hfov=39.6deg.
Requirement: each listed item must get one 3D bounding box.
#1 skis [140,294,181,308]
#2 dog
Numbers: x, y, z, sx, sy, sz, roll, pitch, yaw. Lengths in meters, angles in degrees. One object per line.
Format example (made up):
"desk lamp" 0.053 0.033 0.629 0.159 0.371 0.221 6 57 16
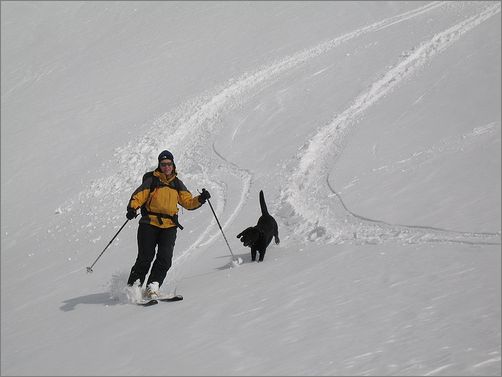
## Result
"skis" -1.912 2.352 14.597 0.953 0.148 0.290 -3 24 -33
"dog" 0.254 1.239 16.356 0.554 1.161 1.373 -10 44 26
